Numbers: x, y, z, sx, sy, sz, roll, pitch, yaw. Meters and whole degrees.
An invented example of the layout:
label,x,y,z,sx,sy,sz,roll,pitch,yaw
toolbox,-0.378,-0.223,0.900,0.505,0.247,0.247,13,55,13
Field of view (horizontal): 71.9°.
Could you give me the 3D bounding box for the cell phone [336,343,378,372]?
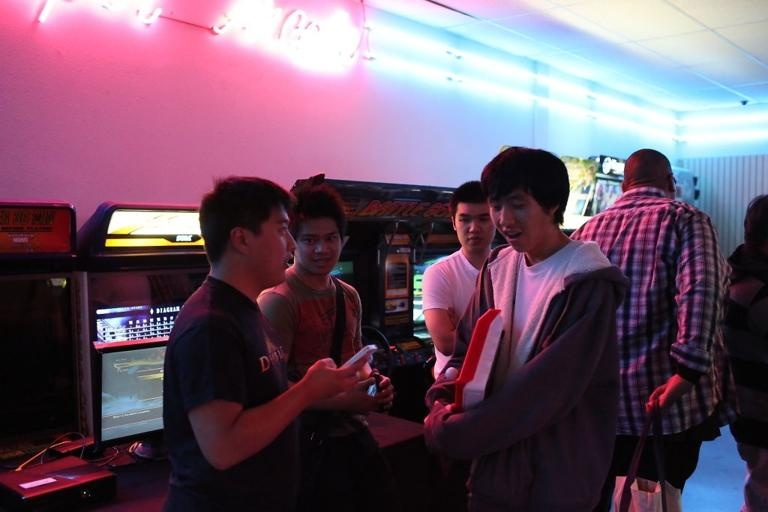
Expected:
label,x,y,z,sx,sy,sz,roll,pitch,yaw
cell phone,-0.101,0.402,2.106,0.110,0.038,0.162,-40,-12,30
